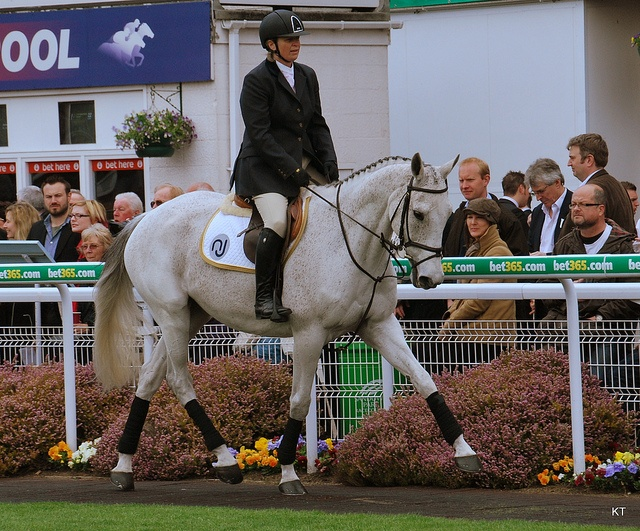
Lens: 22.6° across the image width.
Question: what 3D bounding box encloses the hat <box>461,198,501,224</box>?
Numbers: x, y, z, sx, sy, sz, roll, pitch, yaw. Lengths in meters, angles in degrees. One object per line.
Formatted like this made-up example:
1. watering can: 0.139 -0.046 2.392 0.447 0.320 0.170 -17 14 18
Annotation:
1. hat: 1.621 -0.546 15.907 0.236 0.172 0.313 13 19 42

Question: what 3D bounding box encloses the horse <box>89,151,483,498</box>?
1. horse: -0.421 0.592 15.155 4.405 3.210 1.120 -1 -3 39

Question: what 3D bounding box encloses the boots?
1. boots: -0.424 0.088 14.373 0.307 0.832 0.243 -1 3 -2

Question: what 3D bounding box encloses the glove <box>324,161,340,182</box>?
1. glove: 0.122 -0.870 14.917 0.068 0.178 0.141 -4 4 38

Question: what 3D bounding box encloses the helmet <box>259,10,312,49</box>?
1. helmet: -0.322 -2.172 14.634 0.386 0.272 0.275 12 23 31

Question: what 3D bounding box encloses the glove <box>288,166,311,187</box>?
1. glove: -0.167 -0.791 14.566 0.182 0.080 0.137 38 46 9
